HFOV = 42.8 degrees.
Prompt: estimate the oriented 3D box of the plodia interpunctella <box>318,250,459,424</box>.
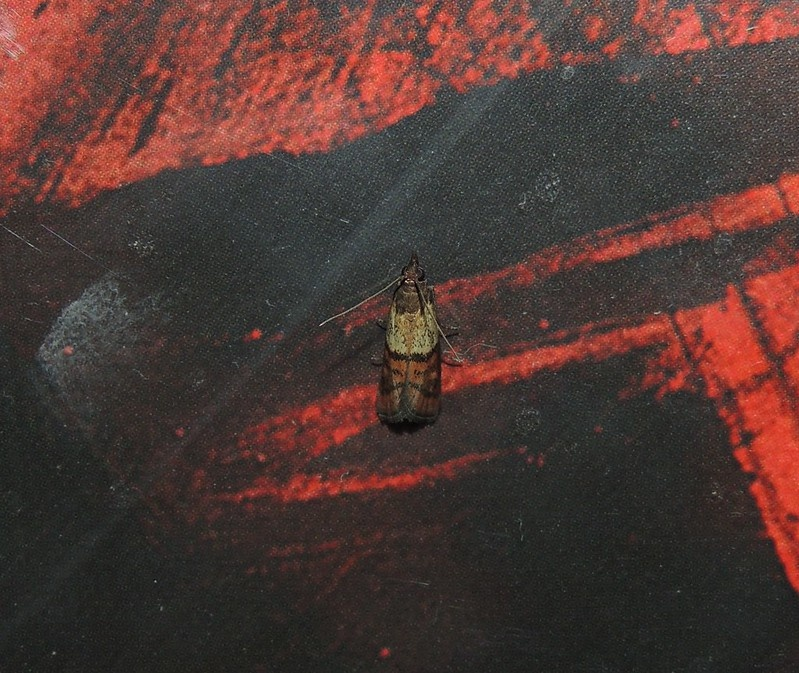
[{"bbox_3d":[0.108,0.052,8.581,0.754,1.092,0.984,-5,55,3],"label":"plodia interpunctella"}]
